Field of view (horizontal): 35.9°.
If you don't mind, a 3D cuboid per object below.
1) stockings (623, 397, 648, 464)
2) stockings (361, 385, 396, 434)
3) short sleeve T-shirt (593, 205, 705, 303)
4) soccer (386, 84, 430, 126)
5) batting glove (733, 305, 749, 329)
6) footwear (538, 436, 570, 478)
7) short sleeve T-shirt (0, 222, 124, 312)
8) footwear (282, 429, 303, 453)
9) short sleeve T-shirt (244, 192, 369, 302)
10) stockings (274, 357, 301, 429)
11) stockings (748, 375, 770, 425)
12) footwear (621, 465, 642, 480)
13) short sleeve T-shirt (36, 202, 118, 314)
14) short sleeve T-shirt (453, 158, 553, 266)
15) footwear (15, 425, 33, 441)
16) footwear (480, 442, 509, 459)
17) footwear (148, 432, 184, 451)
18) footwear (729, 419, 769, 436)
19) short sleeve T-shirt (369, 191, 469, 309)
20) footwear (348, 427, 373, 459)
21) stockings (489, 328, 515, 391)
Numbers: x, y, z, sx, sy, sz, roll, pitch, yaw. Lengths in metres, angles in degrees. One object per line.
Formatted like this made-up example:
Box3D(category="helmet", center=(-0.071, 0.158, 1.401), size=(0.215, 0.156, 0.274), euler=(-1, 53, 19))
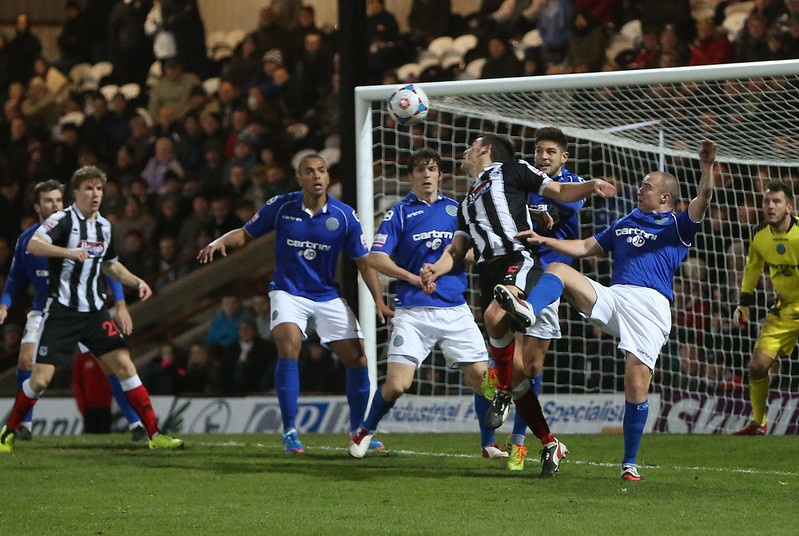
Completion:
Box3D(category="stockings", center=(2.514, 1.750, 13.198), size=(0.223, 0.678, 0.205), euler=(3, -3, 12))
Box3D(category="stockings", center=(-0.236, 1.608, 14.032), size=(0.366, 0.514, 0.214), euler=(3, -3, 7))
Box3D(category="short sleeve T-shirt", center=(2.668, -0.160, 13.577), size=(1.380, 1.023, 0.472), euler=(-4, -18, 31))
Box3D(category="soccer", center=(0.089, -1.986, 15.185), size=(0.478, 0.500, 0.495), euler=(0, 8, 35))
Box3D(category="batting glove", center=(4.284, 0.616, 15.481), size=(0.114, 0.294, 0.226), euler=(1, 16, 7))
Box3D(category="footwear", center=(1.654, 2.031, 13.427), size=(0.193, 0.256, 0.533), euler=(-16, 22, 41))
Box3D(category="short sleeve T-shirt", center=(-4.060, 0.013, 15.068), size=(1.403, 1.096, 0.501), euler=(2, -3, -22))
Box3D(category="footwear", center=(-1.237, 2.013, 14.414), size=(0.250, 0.288, 0.248), euler=(3, -3, -2))
Box3D(category="short sleeve T-shirt", center=(-1.084, -0.233, 15.192), size=(1.506, 1.210, 0.506), euler=(8, -4, -1))
Box3D(category="stockings", center=(-1.318, 1.471, 14.352), size=(0.262, 0.863, 0.298), euler=(4, -3, -8))
Box3D(category="stockings", center=(4.557, 1.665, 15.641), size=(0.208, 0.595, 0.339), euler=(2, -3, 24))
Box3D(category="footwear", center=(2.505, 2.175, 13.215), size=(0.315, 0.159, 0.225), euler=(5, -3, -27))
Box3D(category="short sleeve T-shirt", center=(-3.796, -0.108, 14.441), size=(0.578, 1.188, 1.192), euler=(-6, -12, 42))
Box3D(category="short sleeve T-shirt", center=(1.152, -0.604, 13.556), size=(0.414, 0.745, 0.970), euler=(-3, -31, -49))
Box3D(category="footwear", center=(-4.783, 2.101, 15.761), size=(0.159, 0.211, 0.217), euler=(3, 0, -10))
Box3D(category="footwear", center=(1.107, 2.143, 14.378), size=(0.298, 0.129, 0.132), euler=(-3, -5, 16))
Box3D(category="footwear", center=(-2.763, 2.040, 14.574), size=(0.459, 0.213, 0.164), euler=(0, 9, 7))
Box3D(category="footwear", center=(4.440, 2.008, 15.630), size=(0.528, 0.230, 0.183), euler=(0, -10, 11))
Box3D(category="short sleeve T-shirt", center=(0.323, -0.217, 14.430), size=(1.396, 1.294, 0.567), euler=(-3, 4, -15))
Box3D(category="footwear", center=(-0.441, 1.979, 13.943), size=(0.165, 0.196, 0.456), euler=(16, 4, -5))
Box3D(category="stockings", center=(1.153, 1.047, 13.591), size=(0.270, 0.625, 0.267), euler=(4, 9, 42))
